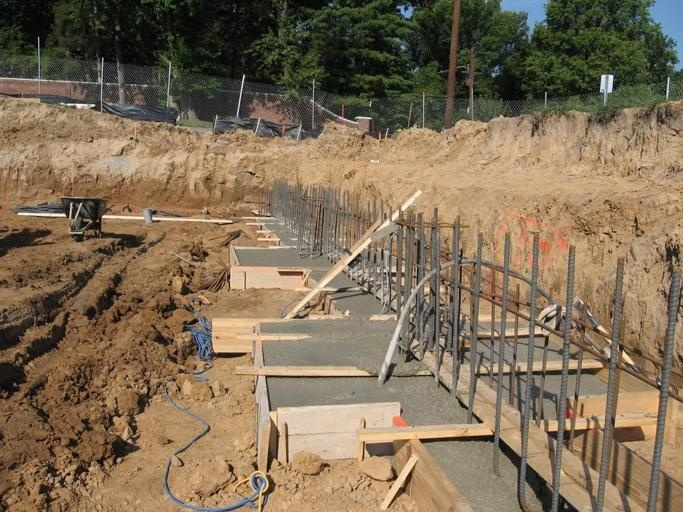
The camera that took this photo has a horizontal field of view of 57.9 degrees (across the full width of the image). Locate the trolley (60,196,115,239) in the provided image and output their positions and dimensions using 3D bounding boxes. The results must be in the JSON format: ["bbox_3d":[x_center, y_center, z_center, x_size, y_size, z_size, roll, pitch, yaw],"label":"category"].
[{"bbox_3d":[-6.236,-0.970,15.098,0.941,1.131,1.820,4,10,-7],"label":"trolley"}]
